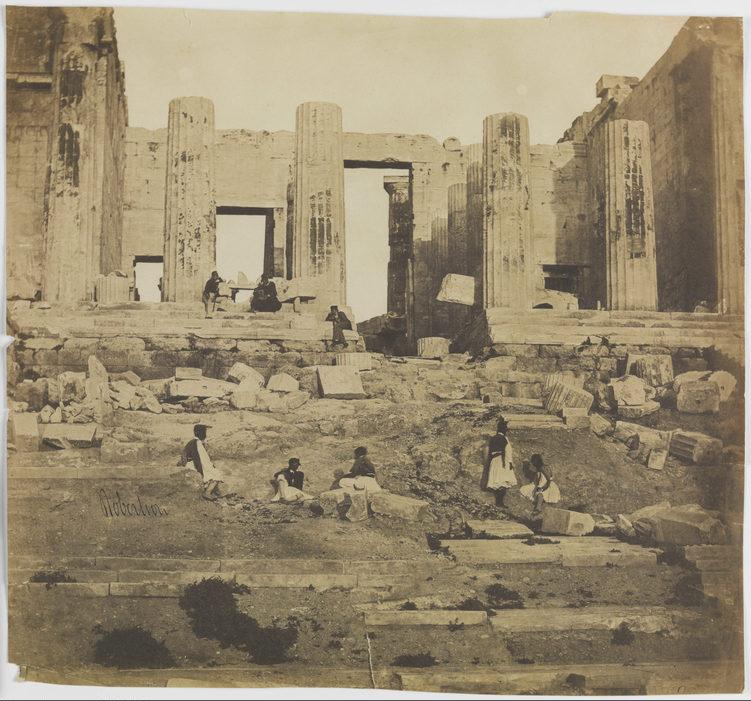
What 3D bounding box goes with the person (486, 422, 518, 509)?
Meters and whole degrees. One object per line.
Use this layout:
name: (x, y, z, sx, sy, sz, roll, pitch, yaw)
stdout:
person: (1.240, 1.098, 15.858, 0.317, 0.856, 0.213, 3, 0, -5)
